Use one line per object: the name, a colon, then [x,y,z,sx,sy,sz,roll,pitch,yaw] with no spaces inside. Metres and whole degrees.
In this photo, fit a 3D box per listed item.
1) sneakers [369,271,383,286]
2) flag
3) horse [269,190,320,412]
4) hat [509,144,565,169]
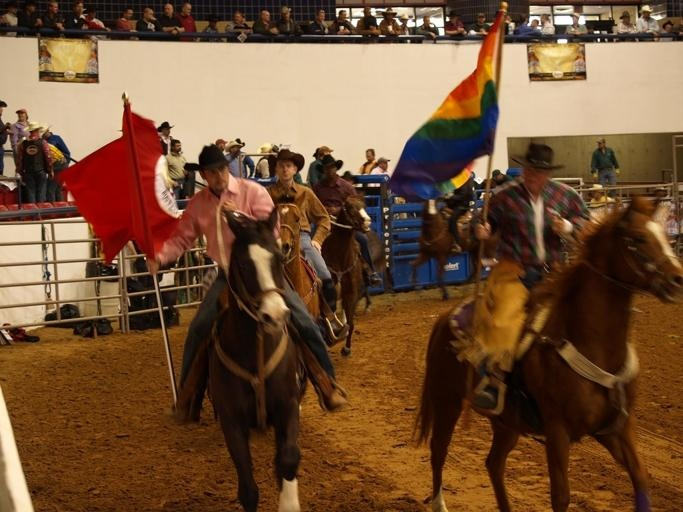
sneakers: [0.542,0.346,12.044,0.181,0.268,0.216,6,-19,-10]
flag: [0.952,-1.343,6.288,0.742,2.044,0.242,2,-28,20]
horse: [-0.471,-0.006,8.097,0.363,1.104,1.586,-5,-38,7]
hat: [1.492,-0.815,5.794,0.255,0.128,0.302,8,10,-27]
